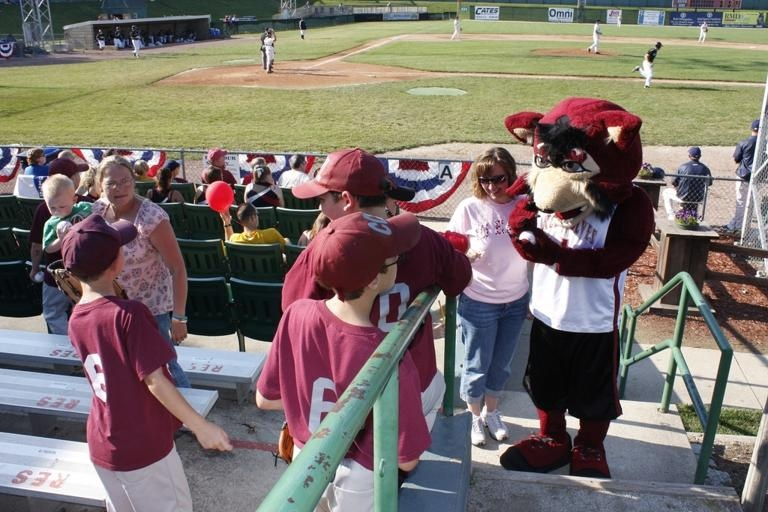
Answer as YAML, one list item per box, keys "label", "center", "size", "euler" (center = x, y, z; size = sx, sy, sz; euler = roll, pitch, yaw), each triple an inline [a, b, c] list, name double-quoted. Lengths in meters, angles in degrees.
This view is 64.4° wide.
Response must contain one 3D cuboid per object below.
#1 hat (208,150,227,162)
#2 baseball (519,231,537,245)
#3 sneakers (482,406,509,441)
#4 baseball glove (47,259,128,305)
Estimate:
- label: "hat"
  center: [-2.699, -1.646, 9.893]
  size: [0.194, 0.107, 0.287]
  euler: [15, 27, 38]
- label: "baseball"
  center: [1.169, -0.146, 4.899]
  size: [0.087, 0.065, 0.129]
  euler: [4, -13, -11]
- label: "sneakers"
  center: [1.037, 1.568, 5.681]
  size: [0.156, 0.156, 0.376]
  euler: [-6, 9, -18]
- label: "baseball glove"
  center: [-2.117, 0.128, 4.209]
  size: [0.393, 0.212, 0.195]
  euler: [20, 30, 13]
